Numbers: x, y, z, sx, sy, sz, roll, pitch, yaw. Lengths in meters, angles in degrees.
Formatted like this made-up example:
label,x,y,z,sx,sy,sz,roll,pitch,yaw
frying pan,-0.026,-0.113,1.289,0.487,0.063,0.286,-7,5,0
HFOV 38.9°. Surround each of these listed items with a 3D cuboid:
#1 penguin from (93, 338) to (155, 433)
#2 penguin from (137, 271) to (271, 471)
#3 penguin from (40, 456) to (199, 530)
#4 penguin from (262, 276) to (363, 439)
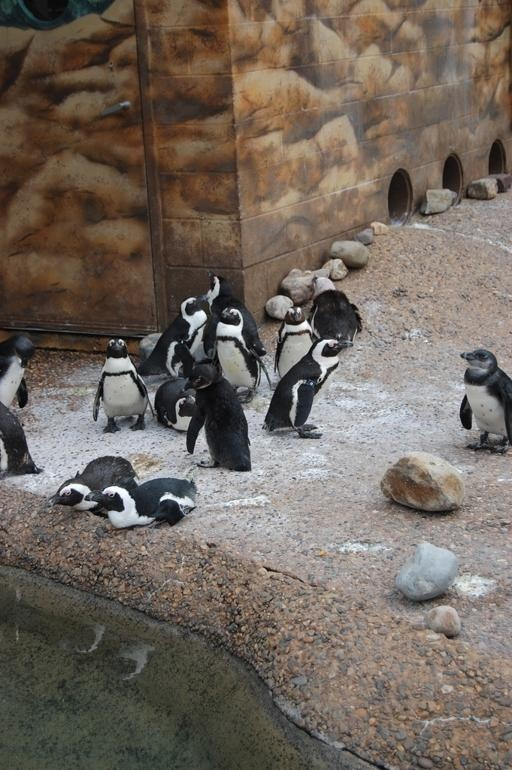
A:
label,x,y,z,sx,sy,sz,roll,pitch,yaw
penguin,-0.836,0.009,4.526,0.325,0.608,0.306,-4,10,-23
penguin,-0.222,-0.135,5.275,0.749,1.193,0.684,-16,27,-31
penguin,-0.590,0.514,3.356,0.591,0.245,0.477,1,9,7
penguin,0.334,-0.097,4.563,0.664,1.040,0.606,5,22,14
